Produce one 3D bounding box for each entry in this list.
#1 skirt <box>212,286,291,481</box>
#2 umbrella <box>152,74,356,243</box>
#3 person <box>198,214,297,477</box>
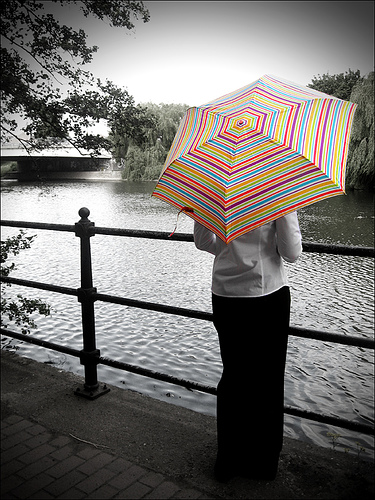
[{"bbox_3d":[0.253,0.572,1.816,0.303,0.874,0.259,0,2,3],"label":"skirt"},{"bbox_3d":[0.393,-0.277,1.653,0.561,0.671,0.196,-3,-29,38],"label":"umbrella"},{"bbox_3d":[0.237,0.441,1.758,0.400,1.151,0.302,1,2,20],"label":"person"}]
